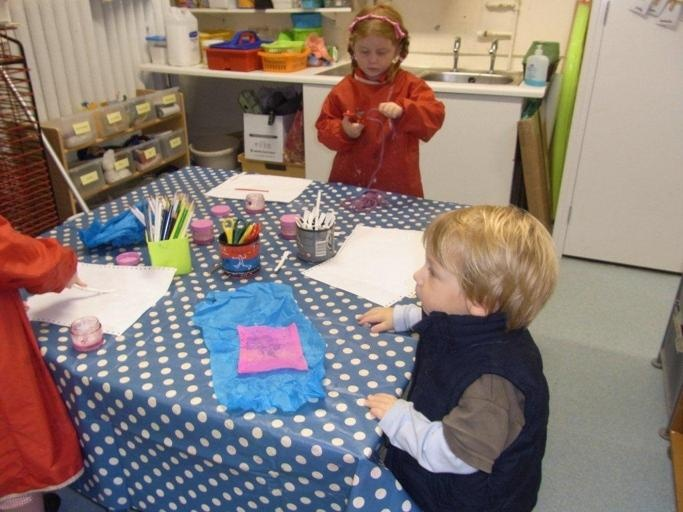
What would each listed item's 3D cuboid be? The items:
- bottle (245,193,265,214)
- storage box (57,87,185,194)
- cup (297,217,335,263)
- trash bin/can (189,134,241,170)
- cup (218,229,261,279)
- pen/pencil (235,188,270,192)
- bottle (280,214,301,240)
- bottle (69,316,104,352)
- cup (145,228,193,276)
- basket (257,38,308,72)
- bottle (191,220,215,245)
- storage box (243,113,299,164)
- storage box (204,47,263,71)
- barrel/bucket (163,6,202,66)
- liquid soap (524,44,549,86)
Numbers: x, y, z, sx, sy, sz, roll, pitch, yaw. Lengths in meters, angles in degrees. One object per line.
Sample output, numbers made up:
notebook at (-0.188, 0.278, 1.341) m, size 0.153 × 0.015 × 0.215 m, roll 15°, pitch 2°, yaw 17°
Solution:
bottle at (-0.315, -0.196, 1.979) m, size 0.069 × 0.056 × 0.069 m, roll -4°, pitch 13°, yaw -9°
storage box at (-1.290, -0.682, 3.104) m, size 0.304 × 0.431 × 0.785 m, roll 12°, pitch 40°, yaw 29°
cup at (-0.079, -0.066, 1.728) m, size 0.121 × 0.130 × 0.125 m, roll 2°, pitch 38°, yaw -1°
trash bin/can at (-0.903, -0.738, 3.879) m, size 0.345 × 0.183 × 0.430 m, roll -7°, pitch 27°, yaw -16°
cup at (-0.296, -0.005, 1.656) m, size 0.124 × 0.109 × 0.120 m, roll 0°, pitch 29°, yaw 0°
pen/pencil at (-0.355, -0.265, 2.143) m, size 0.200 × 0.014 × 0.015 m, roll -1°, pitch 11°, yaw -6°
bottle at (-0.181, -0.109, 1.848) m, size 0.080 × 0.076 × 0.080 m, roll -6°, pitch 26°, yaw -8°
bottle at (-0.648, 0.198, 1.373) m, size 0.099 × 0.053 × 0.098 m, roll 2°, pitch 18°, yaw -1°
cup at (-0.497, -0.009, 1.569) m, size 0.117 × 0.113 × 0.114 m, roll -3°, pitch 15°, yaw 1°
basket at (-0.335, -1.276, 3.379) m, size 0.221 × 0.104 × 0.257 m, roll 10°, pitch 28°, yaw 20°
bottle at (-0.454, -0.079, 1.775) m, size 0.077 × 0.069 × 0.078 m, roll 3°, pitch 26°, yaw 7°
storage box at (-0.580, -0.826, 3.619) m, size 0.343 × 0.293 × 0.331 m, roll 7°, pitch 16°, yaw -32°
storage box at (-0.653, -1.234, 3.374) m, size 0.203 × 0.084 × 0.210 m, roll -21°, pitch 30°, yaw -36°
barrel/bucket at (-0.999, -1.415, 3.466) m, size 0.239 × 0.345 × 0.178 m, roll -15°, pitch 31°, yaw -29°
liquid soap at (1.090, -1.059, 2.981) m, size 0.129 × 0.190 × 0.283 m, roll 10°, pitch 28°, yaw 17°
